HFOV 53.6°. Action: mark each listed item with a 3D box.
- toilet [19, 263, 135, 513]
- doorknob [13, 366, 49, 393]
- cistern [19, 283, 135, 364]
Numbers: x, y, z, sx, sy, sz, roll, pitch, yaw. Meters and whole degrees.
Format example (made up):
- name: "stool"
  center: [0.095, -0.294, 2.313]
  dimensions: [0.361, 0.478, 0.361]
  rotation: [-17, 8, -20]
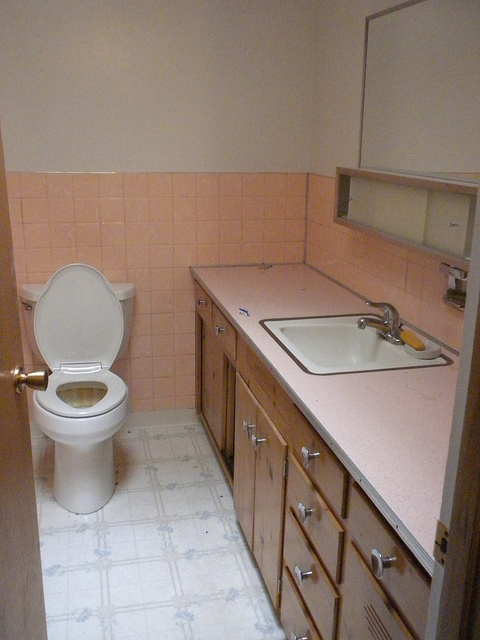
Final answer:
- name: "toilet"
  center: [-0.736, 0.265, 2.292]
  dimensions: [0.531, 1.036, 0.751]
  rotation: [-7, 16, -28]
- name: "doorknob"
  center: [-0.474, 0.133, 1.088]
  dimensions: [0.059, 0.088, 0.053]
  rotation: [1, 6, 9]
- name: "cistern"
  center: [-0.886, -0.047, 2.568]
  dimensions: [0.497, 0.472, 0.365]
  rotation: [1, 35, -9]
